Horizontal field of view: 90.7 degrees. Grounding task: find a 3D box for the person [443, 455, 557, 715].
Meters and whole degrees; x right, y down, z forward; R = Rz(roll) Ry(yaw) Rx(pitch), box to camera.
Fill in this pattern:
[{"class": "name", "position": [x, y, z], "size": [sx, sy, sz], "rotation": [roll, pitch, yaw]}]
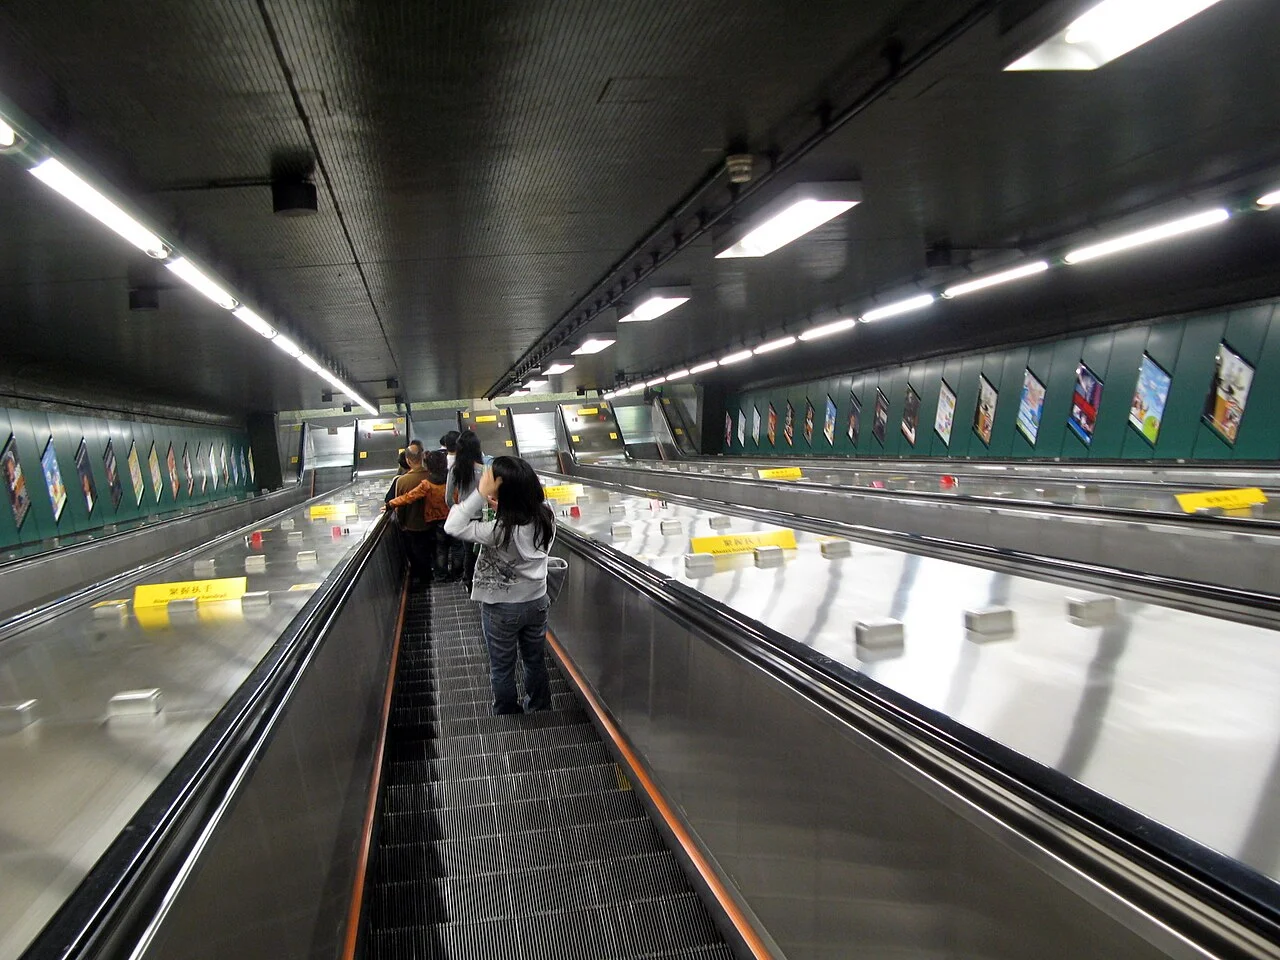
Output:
[{"class": "person", "position": [-0.778, 0.620, 3.535], "size": [0.542, 1.517, 0.568], "rotation": [1, 4, -7]}]
